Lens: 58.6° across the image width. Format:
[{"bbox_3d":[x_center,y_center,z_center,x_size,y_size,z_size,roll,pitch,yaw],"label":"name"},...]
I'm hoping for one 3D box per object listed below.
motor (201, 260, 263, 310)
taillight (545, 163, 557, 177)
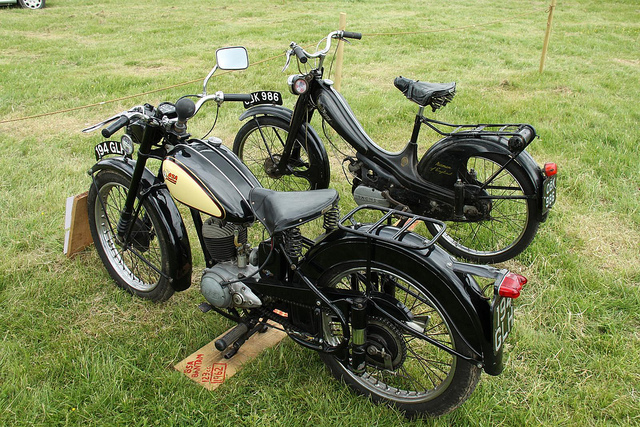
[{"bbox_3d":[-0.790,0.628,5.076,0.476,0.241,0.384,-8,82,-9],"label":"motor"},{"bbox_3d":[2.380,-0.467,5.959,0.095,0.125,0.127,-11,28,-39],"label":"taillight"}]
